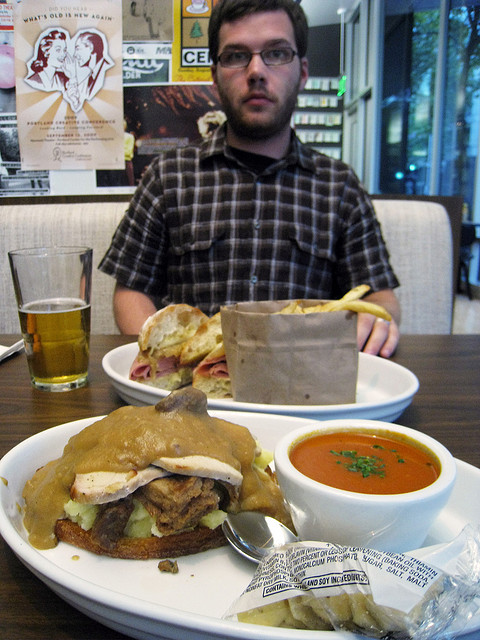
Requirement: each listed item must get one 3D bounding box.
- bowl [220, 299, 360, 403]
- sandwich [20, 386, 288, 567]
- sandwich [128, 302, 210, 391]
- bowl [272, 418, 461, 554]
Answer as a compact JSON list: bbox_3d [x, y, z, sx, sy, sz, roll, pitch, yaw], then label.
[{"bbox_3d":[0.087,0.047,0.967,0.275,0.176,0.155,-1,22,-17],"label":"bowl"},{"bbox_3d":[-0.104,0.157,0.633,0.318,0.157,0.242,0,12,3],"label":"sandwich"},{"bbox_3d":[-0.170,0.053,1.281,0.142,0.177,0.250,9,11,24],"label":"sandwich"},{"bbox_3d":[0.133,0.168,0.576,0.150,0.090,0.145,4,5,0],"label":"bowl"}]
